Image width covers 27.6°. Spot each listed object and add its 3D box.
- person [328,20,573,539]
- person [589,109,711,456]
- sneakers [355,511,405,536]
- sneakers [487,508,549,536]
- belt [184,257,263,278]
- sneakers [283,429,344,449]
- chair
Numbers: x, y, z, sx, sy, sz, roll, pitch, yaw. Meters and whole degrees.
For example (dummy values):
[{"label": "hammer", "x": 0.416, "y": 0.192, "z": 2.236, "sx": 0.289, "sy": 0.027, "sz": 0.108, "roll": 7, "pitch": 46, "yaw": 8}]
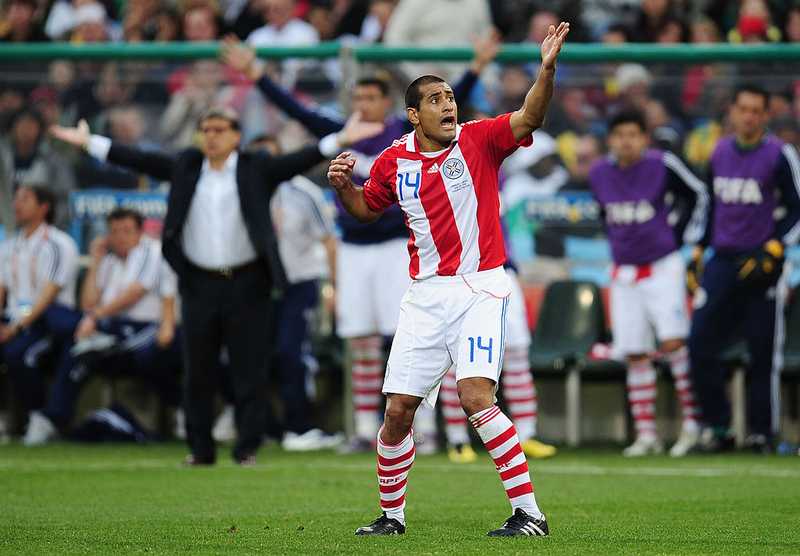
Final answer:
[{"label": "person", "x": 0.259, "y": 0.064, "z": 10.002, "sx": 1.390, "sy": 3.057, "sz": 0.751, "roll": -1, "pitch": -10, "yaw": 5}, {"label": "person", "x": 1.916, "y": -0.007, "z": 12.447, "sx": 0.662, "sy": 2.497, "sz": 0.736, "roll": 10, "pitch": -14, "yaw": -44}, {"label": "sneakers", "x": -0.121, "y": 1.542, "z": 9.996, "sx": 0.302, "sy": 0.124, "sz": 0.116, "roll": 4, "pitch": -9, "yaw": -20}, {"label": "sneakers", "x": 0.739, "y": 1.516, "z": 9.953, "sx": 0.412, "sy": 0.191, "sz": 0.151, "roll": 3, "pitch": -11, "yaw": -7}, {"label": "belt", "x": -1.336, "y": -0.060, "z": 12.163, "sx": 0.575, "sy": 0.132, "sz": 0.066, "roll": 0, "pitch": -10, "yaw": -5}, {"label": "sneakers", "x": -0.750, "y": 1.354, "z": 13.501, "sx": 0.535, "sy": 0.233, "sz": 0.183, "roll": -3, "pitch": 4, "yaw": -13}, {"label": "chair", "x": 1.386, "y": 0.713, "z": 13.390, "sx": 0.702, "sy": 1.195, "sz": 0.666, "roll": -1, "pitch": 16, "yaw": 3}]
